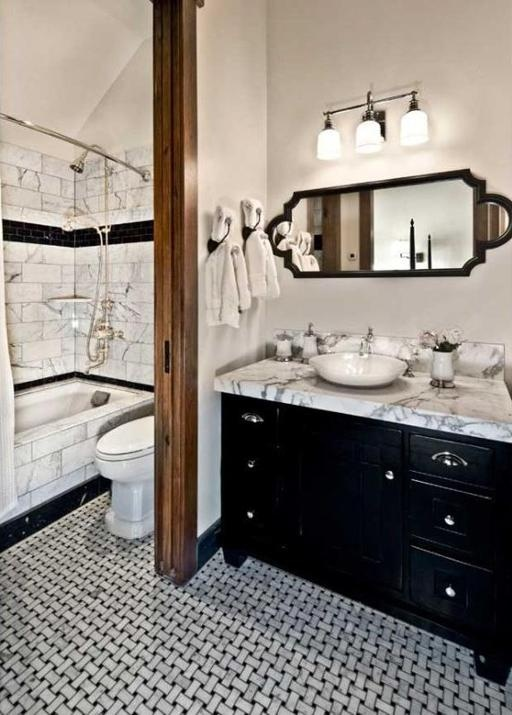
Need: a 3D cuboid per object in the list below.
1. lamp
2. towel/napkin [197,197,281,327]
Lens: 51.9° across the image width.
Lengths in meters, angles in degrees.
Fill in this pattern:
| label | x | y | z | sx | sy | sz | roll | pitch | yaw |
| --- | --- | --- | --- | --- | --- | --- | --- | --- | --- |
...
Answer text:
| label | x | y | z | sx | sy | sz | roll | pitch | yaw |
| --- | --- | --- | --- | --- | --- | --- | --- | --- | --- |
| lamp | 0.479 | -1.007 | 2.269 | 0.519 | 0.281 | 0.222 | 8 | 15 | 25 |
| towel/napkin | -0.044 | -0.422 | 2.280 | 0.248 | 0.516 | 0.510 | 4 | 14 | 14 |
